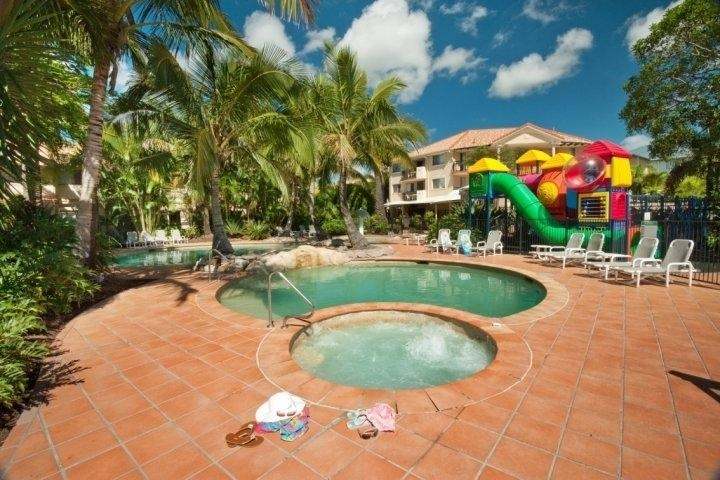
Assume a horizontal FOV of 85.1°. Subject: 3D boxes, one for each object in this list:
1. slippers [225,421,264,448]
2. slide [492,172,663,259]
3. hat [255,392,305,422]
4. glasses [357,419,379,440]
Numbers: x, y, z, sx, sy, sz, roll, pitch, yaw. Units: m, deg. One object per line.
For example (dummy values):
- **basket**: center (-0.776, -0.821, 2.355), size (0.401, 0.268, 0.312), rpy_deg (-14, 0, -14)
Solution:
- **slippers**: center (-1.693, 2.833, 5.692), size (0.321, 0.052, 0.288), rpy_deg (-1, 15, -27)
- **slide**: center (8.459, -1.505, 17.327), size (5.987, 2.779, 1.803), rpy_deg (18, 5, 36)
- **hat**: center (-1.198, 2.525, 5.890), size (0.528, 0.164, 0.524), rpy_deg (-6, 6, -12)
- **glasses**: center (0.112, 2.780, 5.747), size (0.215, 0.100, 0.279), rpy_deg (0, 3, -8)
